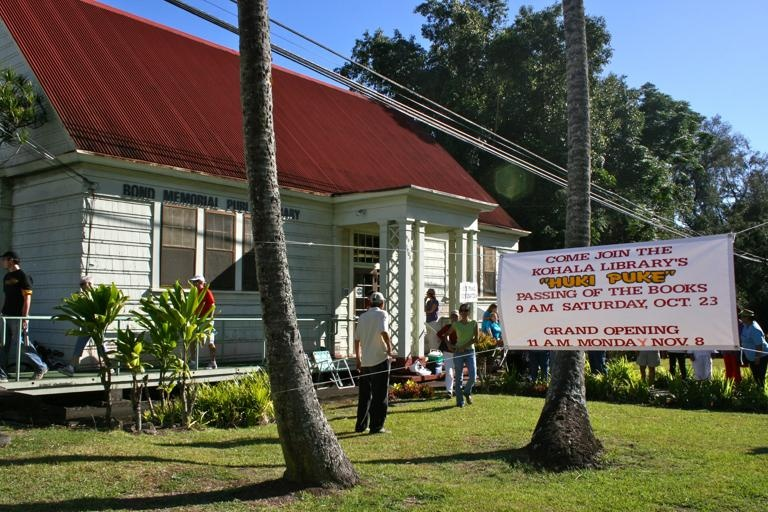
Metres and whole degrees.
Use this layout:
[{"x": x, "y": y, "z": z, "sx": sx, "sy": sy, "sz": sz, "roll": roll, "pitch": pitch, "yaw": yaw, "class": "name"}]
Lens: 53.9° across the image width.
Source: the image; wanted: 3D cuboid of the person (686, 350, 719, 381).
[{"x": 8.861, "y": 3.049, "z": 21.150, "sx": 0.537, "sy": 0.833, "sz": 0.564, "roll": 6, "pitch": 8, "yaw": 32, "class": "person"}]

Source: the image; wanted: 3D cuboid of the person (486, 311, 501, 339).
[{"x": 3.394, "y": 2.146, "z": 23.602, "sx": 0.505, "sy": 0.847, "sz": 0.491, "roll": 3, "pitch": 7, "yaw": 18, "class": "person"}]

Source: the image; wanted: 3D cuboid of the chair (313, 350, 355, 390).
[{"x": -1.360, "y": 2.951, "z": 20.006, "sx": 0.691, "sy": 0.738, "sz": 1.041, "roll": -2, "pitch": 1, "yaw": -42, "class": "chair"}]

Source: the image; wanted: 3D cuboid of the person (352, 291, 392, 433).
[{"x": -0.261, "y": 2.373, "z": 16.690, "sx": 0.769, "sy": 3.021, "sz": 0.915, "roll": 1, "pitch": 7, "yaw": -2, "class": "person"}]

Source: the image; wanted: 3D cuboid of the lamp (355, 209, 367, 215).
[{"x": -0.668, "y": -1.325, "z": 22.731, "sx": 0.369, "sy": 0.183, "sz": 0.097, "roll": 7, "pitch": 9, "yaw": 38, "class": "lamp"}]

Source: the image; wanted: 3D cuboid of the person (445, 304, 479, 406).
[{"x": 1.976, "y": 2.550, "z": 19.091, "sx": 0.692, "sy": 2.535, "sz": 0.944, "roll": 2, "pitch": 7, "yaw": 10, "class": "person"}]

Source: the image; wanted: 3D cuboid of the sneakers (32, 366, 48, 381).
[{"x": -7.609, "y": 2.594, "z": 16.791, "sx": 0.181, "sy": 0.159, "sz": 0.440, "roll": 33, "pitch": 31, "yaw": -12, "class": "sneakers"}]

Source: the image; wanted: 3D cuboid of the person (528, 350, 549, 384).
[{"x": 4.427, "y": 3.126, "z": 21.717, "sx": 0.595, "sy": 0.986, "sz": 1.381, "roll": 2, "pitch": 7, "yaw": 10, "class": "person"}]

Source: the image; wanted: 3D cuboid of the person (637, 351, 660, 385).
[{"x": 7.354, "y": 2.951, "z": 21.135, "sx": 0.612, "sy": 1.461, "sz": 0.456, "roll": 3, "pitch": 25, "yaw": 24, "class": "person"}]

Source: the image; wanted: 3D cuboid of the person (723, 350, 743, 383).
[{"x": 9.483, "y": 2.987, "z": 20.593, "sx": 0.472, "sy": 0.772, "sz": 0.814, "roll": 4, "pitch": 7, "yaw": 25, "class": "person"}]

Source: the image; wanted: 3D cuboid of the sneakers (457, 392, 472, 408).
[{"x": 2.056, "y": 3.716, "z": 19.091, "sx": 0.248, "sy": 0.382, "sz": 0.187, "roll": 2, "pitch": 30, "yaw": 11, "class": "sneakers"}]

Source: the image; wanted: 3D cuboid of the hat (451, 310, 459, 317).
[{"x": 1.827, "y": 1.498, "z": 19.527, "sx": 0.203, "sy": 0.165, "sz": 0.351, "roll": 3, "pitch": 0, "yaw": 6, "class": "hat"}]
